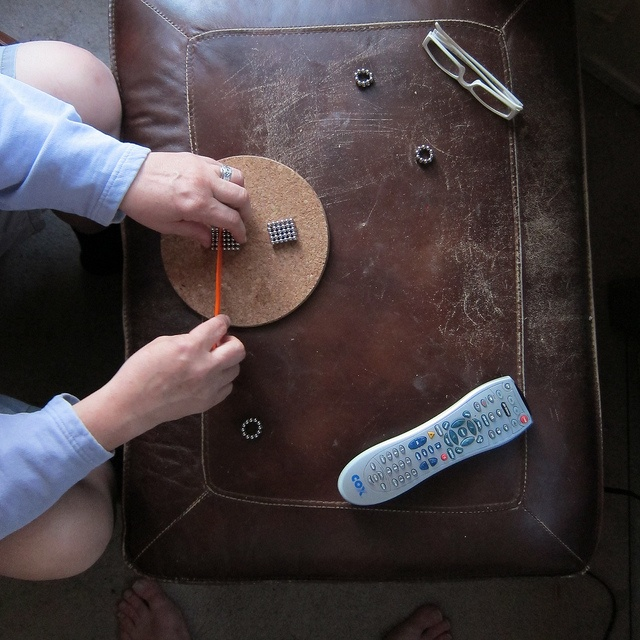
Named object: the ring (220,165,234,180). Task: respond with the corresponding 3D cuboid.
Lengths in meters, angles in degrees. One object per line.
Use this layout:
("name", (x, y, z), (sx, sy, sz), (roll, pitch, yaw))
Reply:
("ring", (-0.152, -0.236, 1.138), (0.014, 0.019, 0.024), (0, 72, -8))
